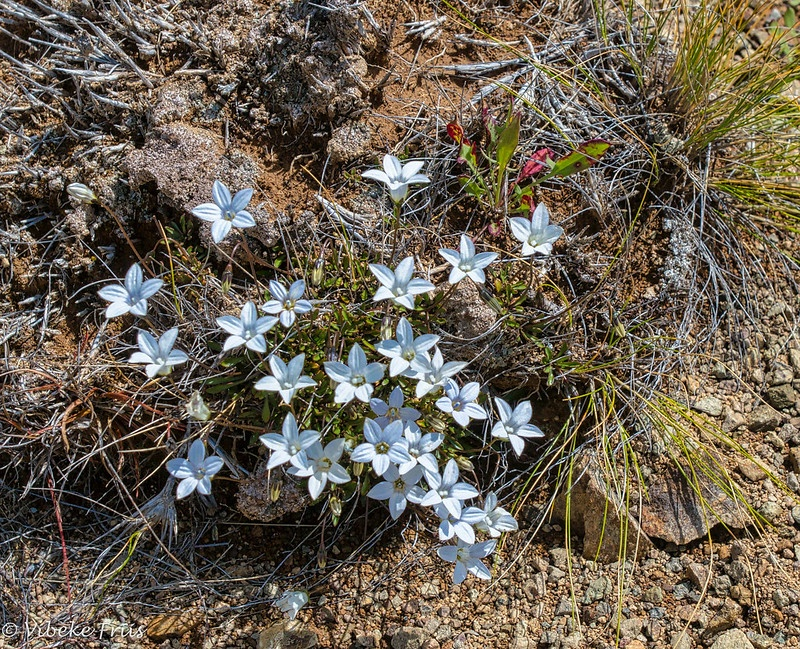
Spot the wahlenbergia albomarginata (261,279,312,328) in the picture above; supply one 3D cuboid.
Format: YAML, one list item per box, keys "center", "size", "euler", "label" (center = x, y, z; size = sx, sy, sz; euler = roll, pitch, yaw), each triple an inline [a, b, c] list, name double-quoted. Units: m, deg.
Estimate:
- center: [-0.607, -0.117, 4.314]
  size: [0.249, 0.323, 0.107]
  euler: [-3, 57, -6]
  label: "wahlenbergia albomarginata"

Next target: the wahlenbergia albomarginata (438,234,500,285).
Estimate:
- center: [0.342, -0.337, 4.370]
  size: [0.296, 0.338, 0.293]
  euler: [33, 84, 4]
  label: "wahlenbergia albomarginata"

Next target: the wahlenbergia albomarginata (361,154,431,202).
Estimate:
- center: [0.002, -0.824, 4.408]
  size: [0.252, 0.421, 0.405]
  euler: [3, 105, 20]
  label: "wahlenbergia albomarginata"

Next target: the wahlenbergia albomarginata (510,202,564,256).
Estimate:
- center: [0.750, -0.504, 4.423]
  size: [0.236, 0.175, 0.307]
  euler: [-11, 82, 3]
  label: "wahlenbergia albomarginata"

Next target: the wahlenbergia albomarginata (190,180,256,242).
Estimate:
- center: [-0.928, -0.600, 4.243]
  size: [0.290, 0.127, 0.380]
  euler: [15, 77, 15]
  label: "wahlenbergia albomarginata"

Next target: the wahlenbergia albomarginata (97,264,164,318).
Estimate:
- center: [-1.430, -0.176, 4.208]
  size: [0.270, 0.118, 0.339]
  euler: [10, 79, 16]
  label: "wahlenbergia albomarginata"
